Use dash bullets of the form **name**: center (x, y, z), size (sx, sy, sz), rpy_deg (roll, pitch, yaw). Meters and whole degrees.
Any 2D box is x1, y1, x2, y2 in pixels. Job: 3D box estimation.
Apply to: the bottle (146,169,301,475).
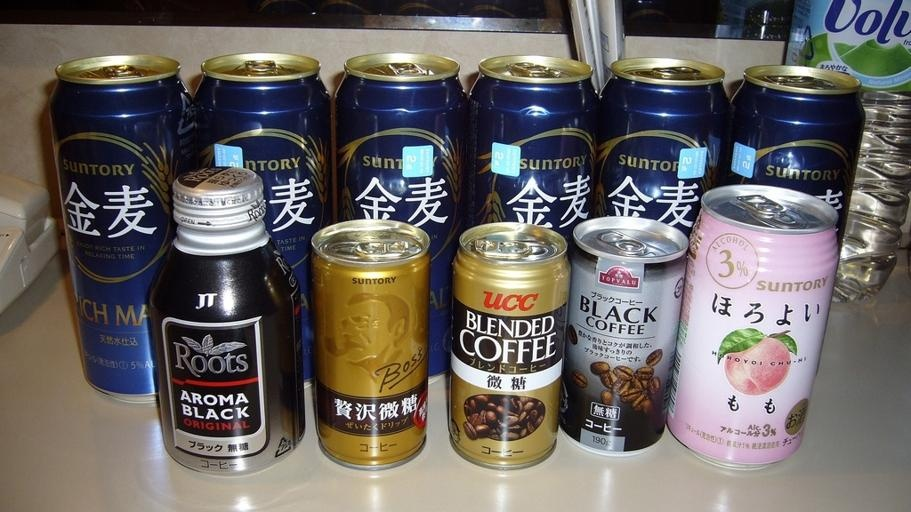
- **bottle**: center (-0.374, 0.110, 1.158), size (0.279, 0.501, 0.211), rpy_deg (-2, 16, -8)
